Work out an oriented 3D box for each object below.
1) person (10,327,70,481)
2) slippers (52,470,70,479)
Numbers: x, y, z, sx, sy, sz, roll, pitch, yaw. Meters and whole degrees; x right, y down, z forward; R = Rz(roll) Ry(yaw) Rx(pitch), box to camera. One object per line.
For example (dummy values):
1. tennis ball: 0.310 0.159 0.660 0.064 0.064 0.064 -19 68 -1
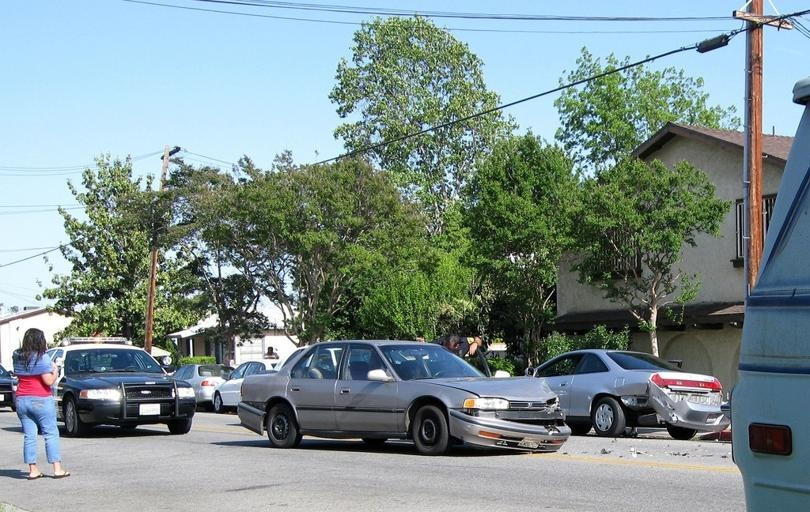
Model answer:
1. person: -6.104 2.438 14.376 0.909 2.473 0.548 1 4 24
2. slippers: -5.707 3.610 14.359 0.230 0.062 0.115 0 0 -34
